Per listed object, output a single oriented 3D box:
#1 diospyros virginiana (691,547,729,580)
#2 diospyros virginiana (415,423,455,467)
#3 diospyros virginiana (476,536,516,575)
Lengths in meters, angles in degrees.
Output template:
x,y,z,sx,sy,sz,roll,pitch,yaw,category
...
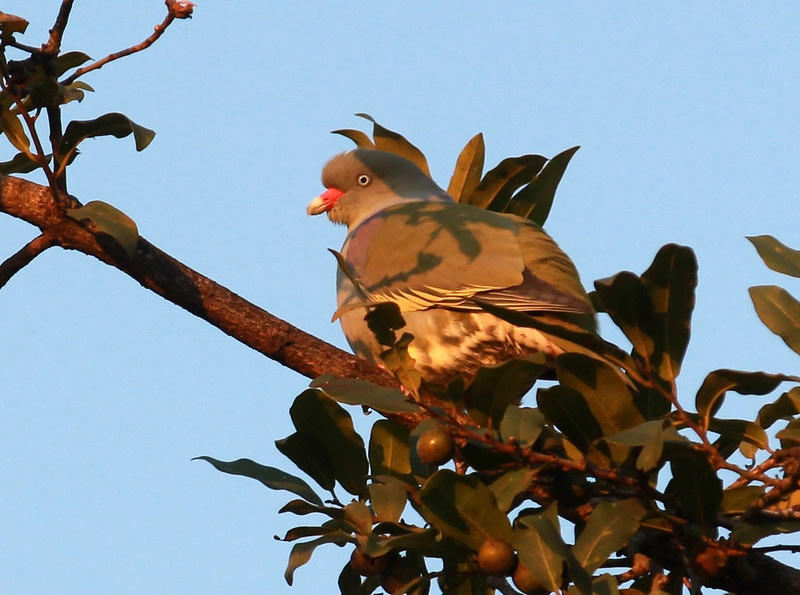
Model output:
x,y,z,sx,sy,sz,roll,pitch,yaw,category
0.987,0.855,6.042,0.098,0.078,0.066,-9,-81,46,diospyros virginiana
0.112,0.471,5.993,0.104,0.112,0.145,1,-89,11,diospyros virginiana
0.306,0.832,6.074,0.098,0.109,0.137,0,-84,8,diospyros virginiana
